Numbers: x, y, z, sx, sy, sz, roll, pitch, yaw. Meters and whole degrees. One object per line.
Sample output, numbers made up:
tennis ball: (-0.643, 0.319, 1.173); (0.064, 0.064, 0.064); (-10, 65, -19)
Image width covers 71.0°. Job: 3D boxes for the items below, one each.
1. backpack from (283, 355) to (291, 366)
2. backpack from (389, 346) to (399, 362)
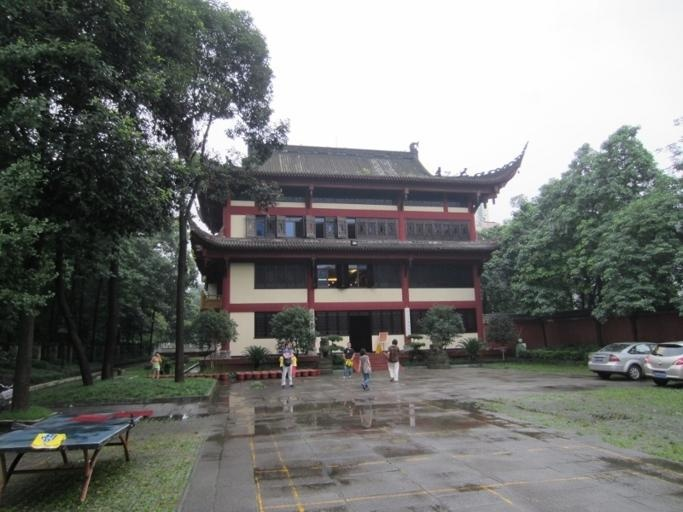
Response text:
backpack: (-2.409, 4.590, 20.997); (0.276, 0.366, 0.513); (8, -16, -41)
backpack: (2.288, 4.348, 21.250); (0.378, 0.666, 0.819); (-3, -12, 0)
